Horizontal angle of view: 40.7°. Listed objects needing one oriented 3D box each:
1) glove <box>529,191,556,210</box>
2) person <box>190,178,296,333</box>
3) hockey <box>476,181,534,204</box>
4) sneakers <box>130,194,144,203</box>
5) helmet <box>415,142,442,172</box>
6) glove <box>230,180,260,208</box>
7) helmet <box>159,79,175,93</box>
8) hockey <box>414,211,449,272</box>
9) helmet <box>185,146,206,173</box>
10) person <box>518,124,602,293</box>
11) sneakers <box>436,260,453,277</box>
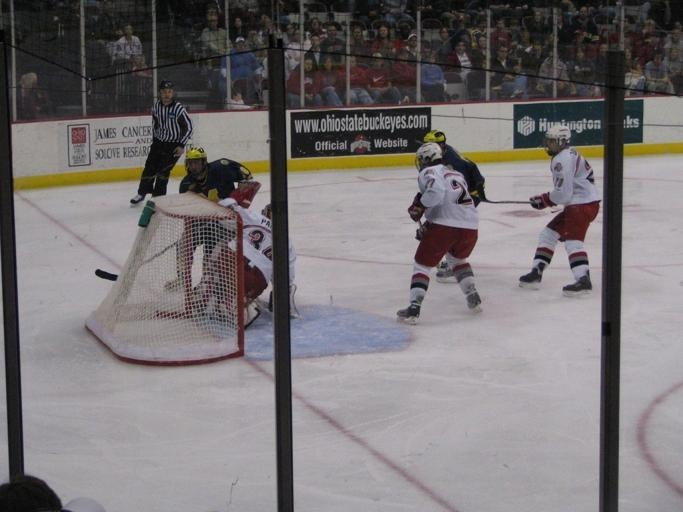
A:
[{"bbox_3d":[1.729,-0.471,7.994,0.319,0.113,0.298,-1,-13,7],"label":"glove"},{"bbox_3d":[-0.646,0.052,6.256,0.608,0.900,0.839,-1,9,4],"label":"person"},{"bbox_3d":[1.646,-0.625,9.733,0.517,0.124,0.480,-1,9,-4],"label":"hockey"},{"bbox_3d":[-2.214,-0.613,9.994,0.069,0.075,0.201,7,12,20],"label":"sneakers"},{"bbox_3d":[0.634,-0.740,6.895,0.239,0.224,0.187,7,20,20],"label":"helmet"},{"bbox_3d":[-0.716,-0.471,6.796,0.116,0.139,0.369,3,12,10],"label":"glove"},{"bbox_3d":[-1.926,-1.830,10.030,0.185,0.088,0.215,0,8,-3],"label":"helmet"},{"bbox_3d":[0.661,-0.076,6.607,0.246,0.308,0.231,1,10,15],"label":"hockey"},{"bbox_3d":[-1.150,-0.760,7.331,0.180,0.196,0.218,-1,3,8],"label":"helmet"},{"bbox_3d":[1.753,-0.368,7.399,0.590,1.287,0.754,1,10,14],"label":"person"},{"bbox_3d":[0.834,0.133,7.616,0.080,0.132,0.225,3,11,11],"label":"sneakers"}]
